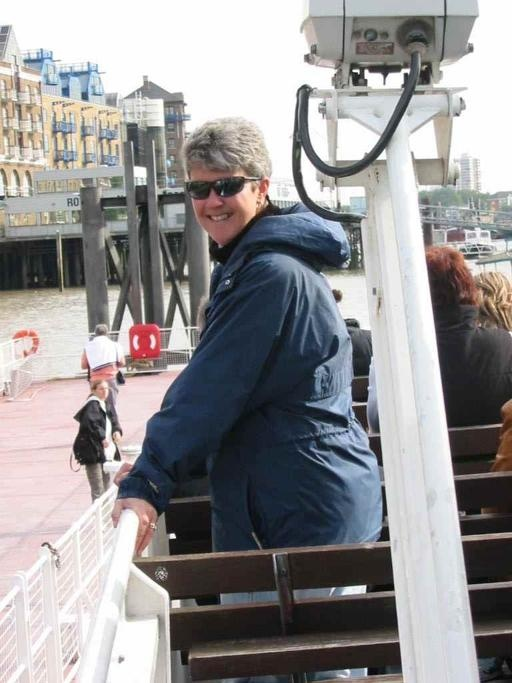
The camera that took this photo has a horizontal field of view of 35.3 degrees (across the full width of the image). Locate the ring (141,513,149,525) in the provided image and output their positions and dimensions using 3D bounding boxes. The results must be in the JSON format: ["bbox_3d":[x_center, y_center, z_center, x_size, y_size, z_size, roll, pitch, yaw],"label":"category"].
[{"bbox_3d":[-0.242,0.387,1.740,0.011,0.022,0.023,0,7,11],"label":"ring"}]

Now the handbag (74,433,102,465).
[{"bbox_3d":[-1.688,1.081,8.008,0.334,0.296,0.166,-1,8,2],"label":"handbag"}]
